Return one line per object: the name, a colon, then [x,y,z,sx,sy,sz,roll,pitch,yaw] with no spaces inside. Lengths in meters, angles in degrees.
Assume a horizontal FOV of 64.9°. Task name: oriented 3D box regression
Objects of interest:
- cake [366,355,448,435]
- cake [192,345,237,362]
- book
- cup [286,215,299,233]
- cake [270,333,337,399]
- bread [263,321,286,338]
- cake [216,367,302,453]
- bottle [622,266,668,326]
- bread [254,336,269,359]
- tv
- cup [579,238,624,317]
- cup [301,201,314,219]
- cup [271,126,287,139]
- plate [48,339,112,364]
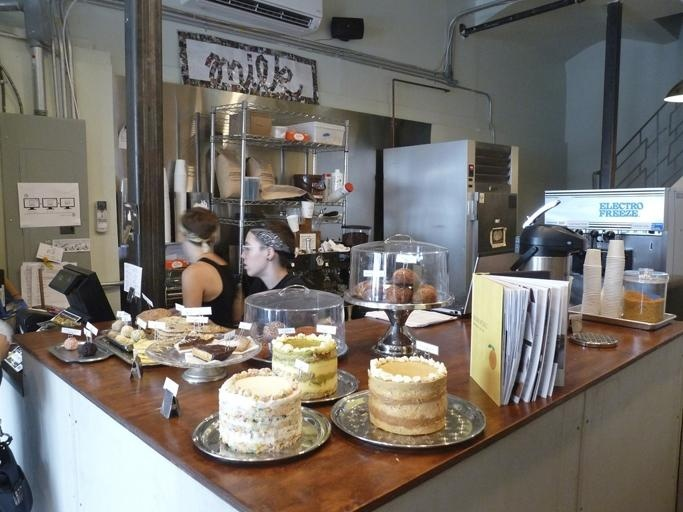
cake: [0.209,0.416,1.701,0.213,0.164,0.217,0,1,3]
cake: [-0.468,0.350,1.967,0.153,0.036,0.103,-3,13,-15]
book: [0.672,0.263,2.080,0.383,0.566,0.425,3,3,38]
cup: [-0.375,-0.250,4.284,0.122,0.142,0.124,-1,6,0]
cake: [-0.123,0.362,1.887,0.206,0.157,0.204,0,1,-42]
bread: [-0.266,0.280,2.069,0.060,0.077,0.034,17,7,10]
cake: [-0.252,0.455,1.612,0.230,0.169,0.243,-7,15,-31]
bottle: [1.512,0.191,2.663,0.243,0.269,0.247,1,-1,-2]
bread: [-0.307,0.360,2.130,0.075,0.086,0.075,3,-3,-29]
tv: [-1.277,0.200,2.631,0.232,0.270,0.178,1,13,1]
cup: [1.357,0.103,2.762,0.203,0.379,0.216,0,13,0]
cup: [-0.273,-0.389,4.484,0.119,0.142,0.137,-5,14,-23]
cup: [-0.528,-1.047,4.533,0.147,0.117,0.147,0,9,0]
plate: [-1.074,0.388,2.214,0.260,0.032,0.187,12,17,42]
